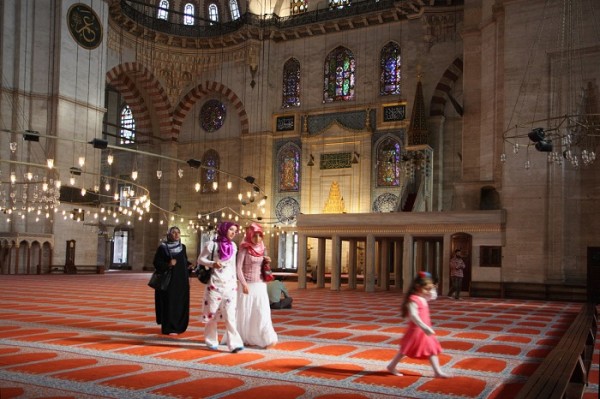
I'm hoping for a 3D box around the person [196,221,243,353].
[{"bbox_3d":[-1.186,1.279,8.011,0.630,1.865,0.433,1,-5,-13],"label":"person"}]

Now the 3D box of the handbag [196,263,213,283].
[{"bbox_3d":[-1.458,1.146,8.257,0.205,0.287,0.297,2,-19,-8],"label":"handbag"}]

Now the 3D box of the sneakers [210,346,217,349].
[{"bbox_3d":[-1.293,2.186,8.034,0.109,0.049,0.043,8,-6,31],"label":"sneakers"}]

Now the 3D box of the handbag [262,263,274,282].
[{"bbox_3d":[-0.514,1.127,8.386,0.221,0.265,0.095,-2,-4,-6],"label":"handbag"}]

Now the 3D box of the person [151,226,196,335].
[{"bbox_3d":[-2.138,1.331,8.959,0.697,1.755,0.414,0,-5,-4],"label":"person"}]

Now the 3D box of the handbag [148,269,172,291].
[{"bbox_3d":[-2.322,1.333,8.944,0.353,0.338,0.248,1,-5,-14],"label":"handbag"}]

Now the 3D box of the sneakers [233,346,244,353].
[{"bbox_3d":[-0.898,2.168,7.848,0.070,0.075,0.207,-3,-6,26],"label":"sneakers"}]

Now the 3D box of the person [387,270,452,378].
[{"bbox_3d":[1.517,1.607,6.969,0.732,1.327,0.321,-2,-5,14],"label":"person"}]
